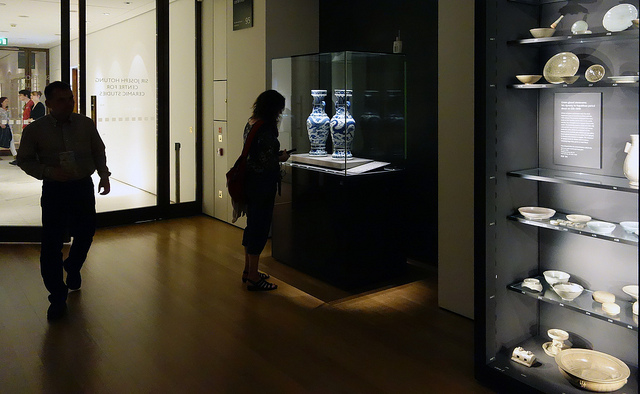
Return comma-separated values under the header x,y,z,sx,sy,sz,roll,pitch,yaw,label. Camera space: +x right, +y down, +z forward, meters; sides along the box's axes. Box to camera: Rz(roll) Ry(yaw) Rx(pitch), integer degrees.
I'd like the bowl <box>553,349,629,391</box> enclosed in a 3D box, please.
x,y,z,sx,sy,sz,roll,pitch,yaw,label
2.022,1.279,3.224,0.481,0.156,0.319,9,18,27,bowl

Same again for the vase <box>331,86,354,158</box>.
x,y,z,sx,sy,sz,roll,pitch,yaw,label
0.272,-0.778,4.736,0.259,0.722,0.255,-4,6,-33,vase

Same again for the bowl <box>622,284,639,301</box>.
x,y,z,sx,sy,sz,roll,pitch,yaw,label
2.312,0.696,3.238,0.094,0.101,0.165,12,20,36,bowl

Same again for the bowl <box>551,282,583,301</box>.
x,y,z,sx,sy,sz,roll,pitch,yaw,label
1.887,0.696,3.328,0.140,0.059,0.140,0,2,0,bowl

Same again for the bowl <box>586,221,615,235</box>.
x,y,z,sx,sy,sz,roll,pitch,yaw,label
2.041,0.218,3.156,0.171,0.053,0.202,11,20,33,bowl

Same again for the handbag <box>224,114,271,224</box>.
x,y,z,sx,sy,sz,roll,pitch,yaw,label
-0.785,-0.299,4.719,0.484,1.164,0.228,-1,14,-3,handbag

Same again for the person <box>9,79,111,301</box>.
x,y,z,sx,sy,sz,roll,pitch,yaw,label
-2.556,-0.027,4.423,0.779,2.185,0.426,-11,18,-36,person
